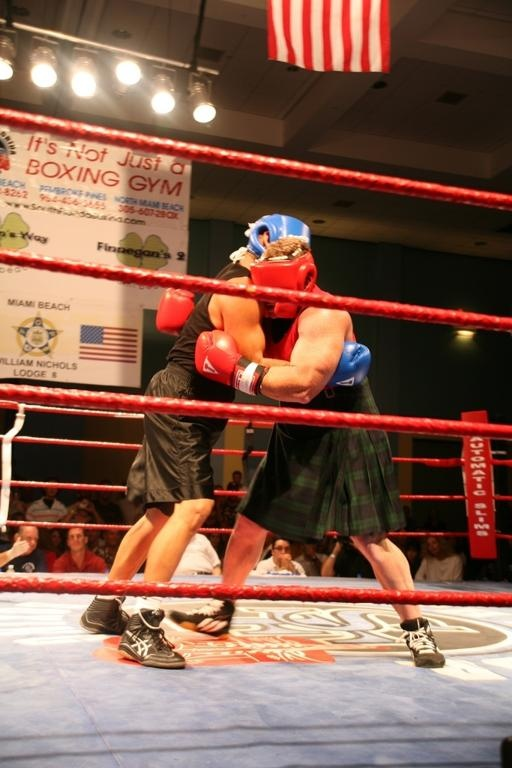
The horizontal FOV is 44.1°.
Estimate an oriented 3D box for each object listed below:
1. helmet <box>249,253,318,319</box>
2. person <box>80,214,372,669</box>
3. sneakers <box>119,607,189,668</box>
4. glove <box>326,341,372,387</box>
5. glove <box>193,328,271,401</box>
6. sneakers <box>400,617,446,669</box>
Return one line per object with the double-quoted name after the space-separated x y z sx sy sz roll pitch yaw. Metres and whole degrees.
0.073 -0.261 1.640 0.166 0.176 0.238 3 -3 -23 "helmet"
-0.140 0.094 1.671 0.574 1.185 0.675 3 -3 -15 "person"
-0.223 0.554 1.384 0.182 0.107 0.074 3 -15 36 "sneakers"
0.238 -0.053 1.597 0.117 0.114 0.090 2 -2 -12 "glove"
-0.054 -0.050 1.445 0.149 0.084 0.224 -9 37 -40 "glove"
0.399 0.622 1.518 0.065 0.112 0.186 -6 -15 2 "sneakers"
